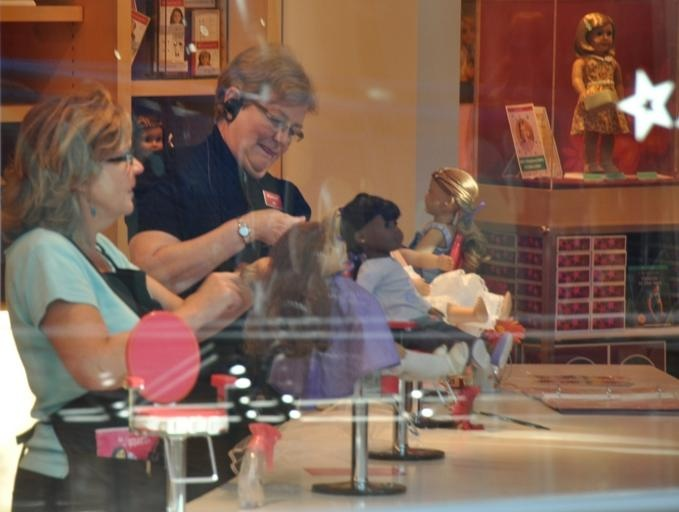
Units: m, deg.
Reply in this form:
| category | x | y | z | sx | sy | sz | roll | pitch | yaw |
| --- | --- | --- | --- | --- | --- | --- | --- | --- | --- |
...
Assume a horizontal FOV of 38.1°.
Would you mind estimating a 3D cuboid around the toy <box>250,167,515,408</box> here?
| category | x | y | z | sx | sy | sz | roll | pitch | yaw |
| --- | --- | --- | --- | --- | --- | --- | --- | --- | --- |
| toy | 0.075 | 0.091 | 2.293 | 0.567 | 0.470 | 0.172 | 0 | 0 | -10 |

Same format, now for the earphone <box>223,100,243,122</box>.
| category | x | y | z | sx | sy | sz | roll | pitch | yaw |
| --- | --- | --- | --- | --- | --- | --- | --- | --- | --- |
| earphone | -0.263 | -0.360 | 2.478 | 0.036 | 0.052 | 0.044 | 15 | 6 | 35 |

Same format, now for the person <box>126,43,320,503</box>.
| category | x | y | z | sx | sy | sz | roll | pitch | yaw |
| --- | --- | --- | --- | --- | --- | --- | --- | --- | --- |
| person | -0.260 | 0.051 | 2.637 | 0.450 | 1.179 | 0.433 | -15 | 23 | -36 |

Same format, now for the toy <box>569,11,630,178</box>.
| category | x | y | z | sx | sy | sz | roll | pitch | yaw |
| --- | --- | --- | --- | --- | --- | --- | --- | --- | --- |
| toy | 0.794 | -0.487 | 2.992 | 0.171 | 0.470 | 0.106 | 0 | 0 | 13 |

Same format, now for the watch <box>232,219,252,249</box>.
| category | x | y | z | sx | sy | sz | roll | pitch | yaw |
| --- | --- | --- | --- | --- | --- | --- | --- | --- | --- |
| watch | -0.230 | -0.054 | 2.437 | 0.033 | 0.057 | 0.052 | -16 | -7 | -1 |
